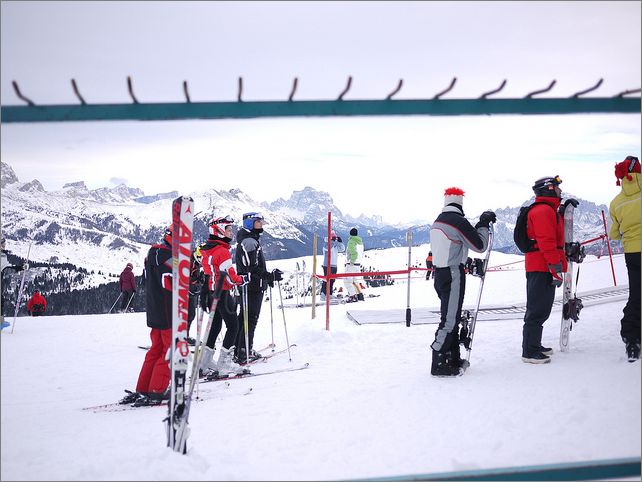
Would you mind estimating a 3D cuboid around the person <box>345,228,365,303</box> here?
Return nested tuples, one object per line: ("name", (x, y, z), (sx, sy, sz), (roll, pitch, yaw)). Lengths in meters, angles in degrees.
("person", (1.082, 0.793, 16.331), (0.658, 2.406, 1.464), (-3, 4, 3))

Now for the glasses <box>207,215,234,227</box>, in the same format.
("glasses", (-1.742, -0.342, 8.863), (0.283, 0.123, 0.217), (-7, 2, -2))

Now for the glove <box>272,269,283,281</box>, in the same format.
("glove", (-0.778, 0.638, 9.283), (0.194, 0.228, 0.365), (-4, 4, -4))

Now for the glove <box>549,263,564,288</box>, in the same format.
("glove", (3.426, 0.475, 7.323), (0.227, 0.375, 0.163), (-9, 5, -31))

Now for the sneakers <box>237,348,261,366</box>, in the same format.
("sneakers", (-1.326, 2.173, 9.497), (0.512, 0.222, 0.167), (-8, 10, -40))

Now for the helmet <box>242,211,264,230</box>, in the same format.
("helmet", (-1.210, -0.346, 9.162), (0.335, 0.266, 0.277), (8, -6, -10))

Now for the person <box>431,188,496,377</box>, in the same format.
("person", (2.063, 0.782, 7.583), (0.898, 2.388, 0.488), (-3, 4, 9))

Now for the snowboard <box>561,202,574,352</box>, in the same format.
("snowboard", (3.809, 0.539, 7.840), (0.115, 2.303, 0.265), (0, -4, 30))

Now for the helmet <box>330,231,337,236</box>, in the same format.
("helmet", (0.374, -0.196, 14.549), (0.121, 0.076, 0.119), (-6, 7, -24))

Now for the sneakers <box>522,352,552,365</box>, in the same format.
("sneakers", (3.194, 1.748, 7.521), (0.358, 0.161, 0.143), (-6, -8, 28))

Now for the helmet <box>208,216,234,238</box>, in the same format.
("helmet", (-1.726, -0.234, 8.848), (0.385, 0.330, 0.323), (4, -2, -13))

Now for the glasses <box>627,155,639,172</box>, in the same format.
("glasses", (4.516, -1.107, 7.359), (0.133, 0.241, 0.175), (-1, 5, 31))

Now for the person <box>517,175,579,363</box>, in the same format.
("person", (3.252, 0.435, 7.559), (0.643, 2.739, 0.559), (-2, 4, 20))
